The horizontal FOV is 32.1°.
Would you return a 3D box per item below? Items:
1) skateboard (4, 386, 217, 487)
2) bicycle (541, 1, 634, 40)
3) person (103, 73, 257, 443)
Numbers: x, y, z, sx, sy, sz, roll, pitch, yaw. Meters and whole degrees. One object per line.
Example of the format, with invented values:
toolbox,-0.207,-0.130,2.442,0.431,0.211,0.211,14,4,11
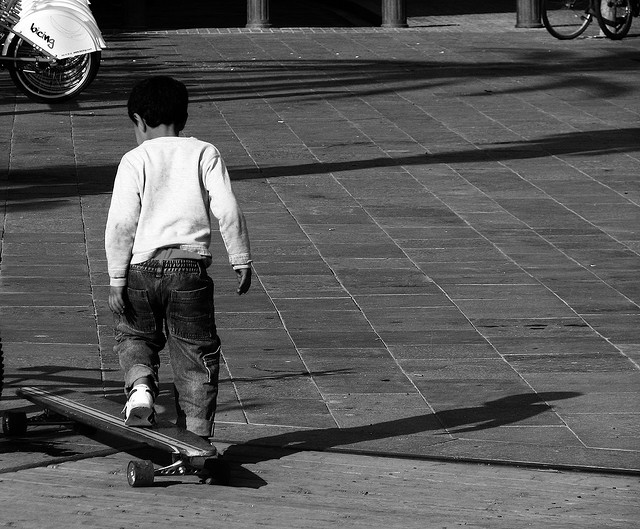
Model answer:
skateboard,-0.945,0.750,5.045,1.177,0.113,0.383,7,9,41
bicycle,5.547,-5.062,23.143,1.779,0.808,4.077,2,10,13
person,-0.677,-0.021,4.854,0.522,1.585,0.586,10,19,39
